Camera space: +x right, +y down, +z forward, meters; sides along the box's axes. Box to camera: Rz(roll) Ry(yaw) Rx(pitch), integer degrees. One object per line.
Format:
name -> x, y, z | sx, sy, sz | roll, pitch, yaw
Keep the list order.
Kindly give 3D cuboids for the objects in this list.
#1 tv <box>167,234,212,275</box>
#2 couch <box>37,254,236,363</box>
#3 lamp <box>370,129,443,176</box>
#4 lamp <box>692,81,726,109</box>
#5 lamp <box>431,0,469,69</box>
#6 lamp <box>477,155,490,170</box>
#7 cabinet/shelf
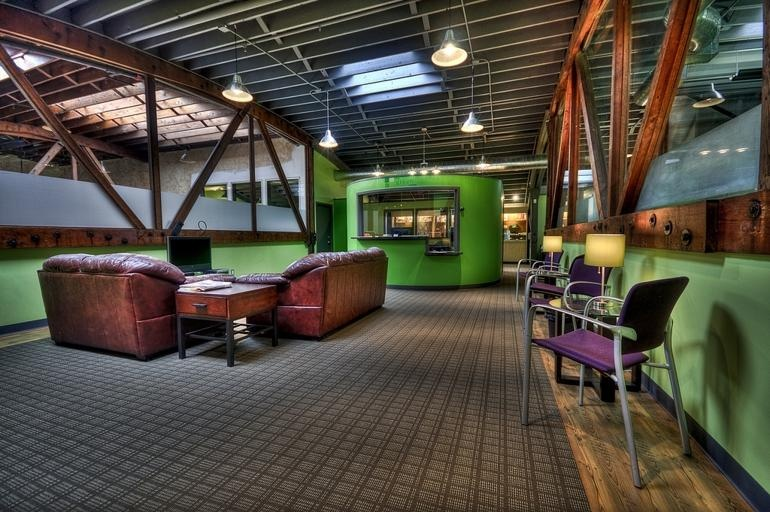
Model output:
tv -> -2.838, -0.020, 6.953 | 0.172, 0.422, 0.644 | 0, -1, 20
couch -> -3.259, 0.546, 6.160 | 2.143, 1.382, 1.230 | 2, 3, 24
lamp -> 0.541, -2.619, 11.930 | 1.341, 1.070, 0.355 | 1, 5, 4
lamp -> 3.157, -1.598, 4.723 | 0.211, 0.132, 0.212 | -8, 16, 16
lamp -> 0.867, -2.981, 6.474 | 0.402, 0.981, 1.239 | 1, 4, 9
lamp -> 2.292, -2.285, 11.610 | 0.335, 0.308, 0.316 | -1, -4, -5
cabinet/shelf -> -1.879, 0.839, 5.992 | 1.110, 0.841, 1.000 | 1, 4, 14
